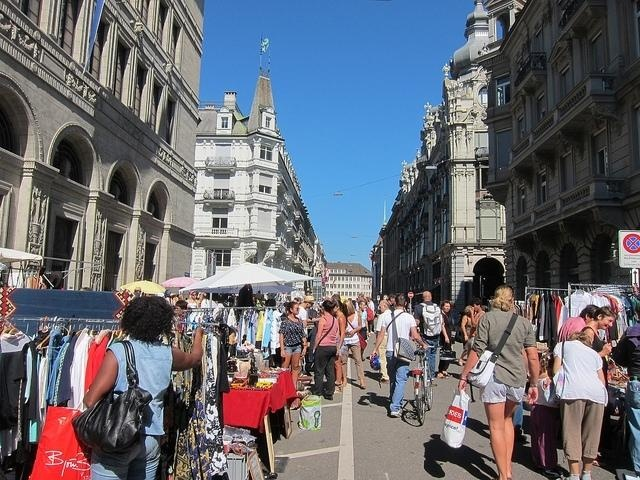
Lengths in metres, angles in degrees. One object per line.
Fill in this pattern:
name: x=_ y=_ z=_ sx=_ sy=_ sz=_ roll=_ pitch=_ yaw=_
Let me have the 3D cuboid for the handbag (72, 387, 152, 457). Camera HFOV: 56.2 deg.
handbag: x=-2.602 y=2.303 z=7.578 sx=0.791 sy=0.881 sz=0.434 roll=-4 pitch=-45 yaw=31

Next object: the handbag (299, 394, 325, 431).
handbag: x=-0.149 y=3.498 z=12.204 sx=0.518 sy=0.629 sz=0.513 roll=-4 pitch=-4 yaw=19

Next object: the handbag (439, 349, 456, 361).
handbag: x=4.107 y=3.702 z=19.376 sx=0.669 sy=0.388 sz=0.991 roll=-1 pitch=-12 yaw=8

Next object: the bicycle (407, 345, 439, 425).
bicycle: x=2.171 y=3.144 z=12.761 sx=0.430 sy=1.213 sz=1.518 roll=5 pitch=0 yaw=11

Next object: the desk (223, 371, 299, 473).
desk: x=-1.068 y=3.172 z=10.753 sx=1.125 sy=1.390 sz=1.944 roll=0 pitch=-7 yaw=8

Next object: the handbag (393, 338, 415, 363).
handbag: x=1.792 y=2.357 z=12.817 sx=0.427 sy=0.478 sz=0.241 roll=7 pitch=-5 yaw=-3
